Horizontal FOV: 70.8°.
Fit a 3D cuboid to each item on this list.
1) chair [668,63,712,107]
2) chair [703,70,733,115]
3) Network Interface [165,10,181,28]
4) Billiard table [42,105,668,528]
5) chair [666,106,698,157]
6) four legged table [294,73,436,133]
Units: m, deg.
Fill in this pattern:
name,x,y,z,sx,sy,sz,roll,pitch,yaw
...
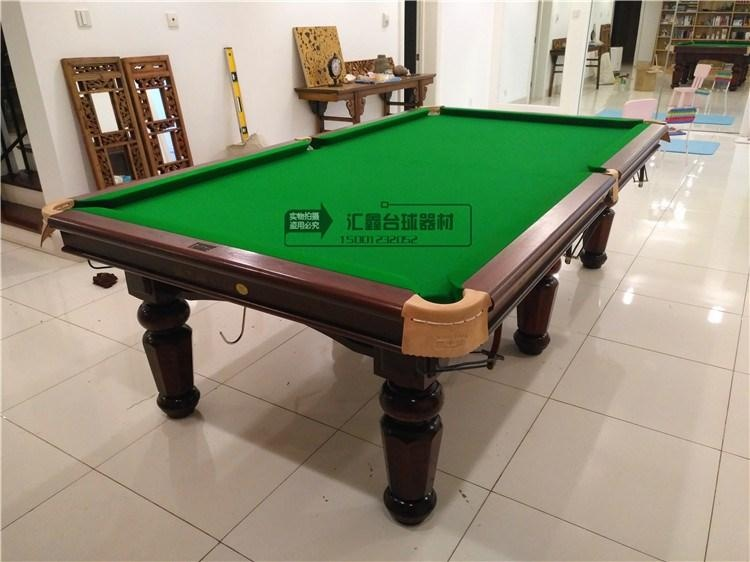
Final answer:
name,x,y,z,sx,sy,sz,roll,pitch,yaw
chair,4.006,-2.537,6.742,0.459,0.616,0.348,-15,32,-21
chair,4.541,-2.523,6.963,0.283,0.428,0.230,-37,45,-25
Network Interface,-1.628,-2.098,4.240,0.019,0.118,0.114,9,29,26
Billiard table,0.107,-0.048,2.624,1.721,1.147,2.389,17,33,37
chair,3.120,-1.539,5.470,0.333,0.428,0.321,-14,20,-32
four legged table,-0.026,-1.904,6.168,0.544,0.908,1.862,23,36,33
